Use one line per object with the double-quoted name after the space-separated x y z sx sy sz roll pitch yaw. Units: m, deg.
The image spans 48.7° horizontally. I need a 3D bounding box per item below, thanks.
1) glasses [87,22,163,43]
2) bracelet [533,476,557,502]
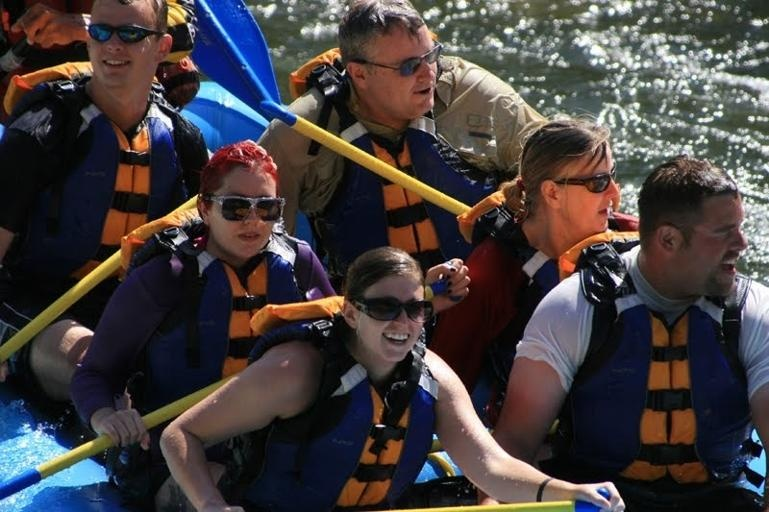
-1.300 -1.102 4.274 0.331 0.109 0.118 1 14 -29 "glasses"
0.587 0.868 3.164 0.042 0.093 0.040 -5 17 -44 "bracelet"
